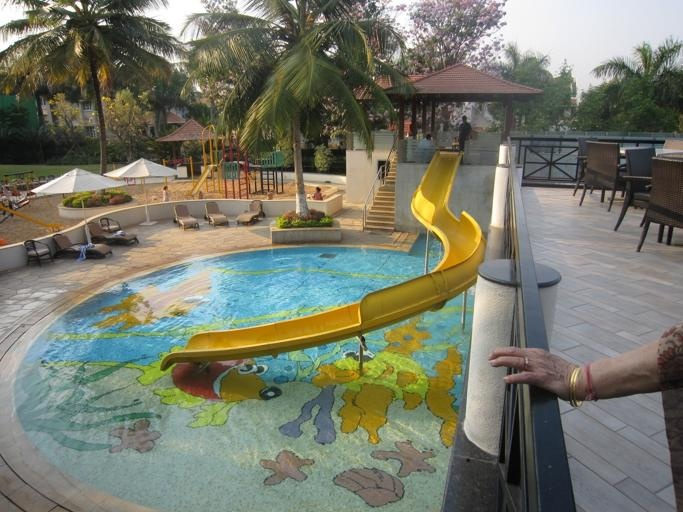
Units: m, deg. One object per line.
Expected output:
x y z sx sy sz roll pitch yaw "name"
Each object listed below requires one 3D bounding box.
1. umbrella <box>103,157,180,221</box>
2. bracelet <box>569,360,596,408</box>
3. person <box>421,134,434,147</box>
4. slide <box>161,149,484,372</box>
-10.525 -3.301 22.453 3.135 3.095 3.228 -9 10 -3 "umbrella"
1.370 0.727 2.462 0.090 0.223 0.198 0 7 26 "bracelet"
4.418 -6.003 22.128 0.657 0.689 2.369 4 15 10 "person"
3.055 -1.220 14.959 5.848 4.538 18.137 10 17 29 "slide"
